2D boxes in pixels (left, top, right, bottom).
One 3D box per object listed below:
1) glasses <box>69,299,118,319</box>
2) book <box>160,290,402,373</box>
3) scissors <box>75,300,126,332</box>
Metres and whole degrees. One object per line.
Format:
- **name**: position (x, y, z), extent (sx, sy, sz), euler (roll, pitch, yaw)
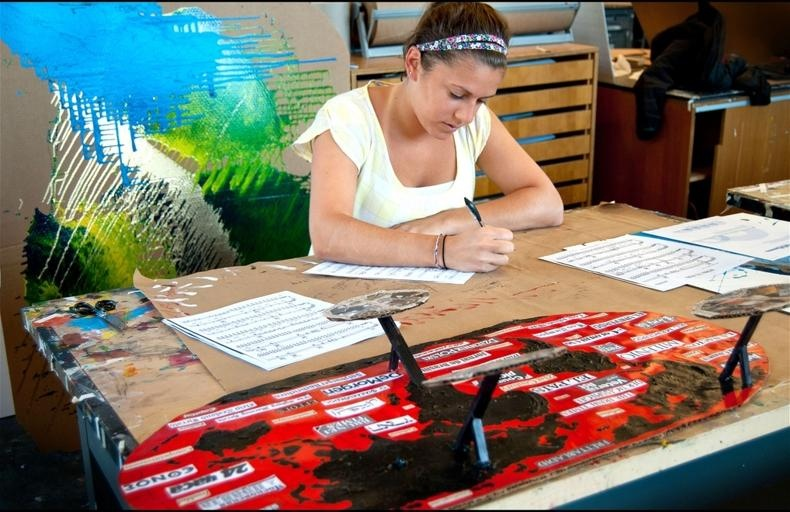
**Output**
- **glasses**: position (-0.766, 0.130, 1.304), extent (0.088, 0.017, 0.057), euler (3, 13, 15)
- **book**: position (-0.281, 0.171, 1.182), extent (0.283, 0.022, 0.269), euler (16, 23, 41)
- **scissors**: position (-0.737, 0.143, 1.272), extent (0.068, 0.018, 0.164), euler (-22, 27, -39)
